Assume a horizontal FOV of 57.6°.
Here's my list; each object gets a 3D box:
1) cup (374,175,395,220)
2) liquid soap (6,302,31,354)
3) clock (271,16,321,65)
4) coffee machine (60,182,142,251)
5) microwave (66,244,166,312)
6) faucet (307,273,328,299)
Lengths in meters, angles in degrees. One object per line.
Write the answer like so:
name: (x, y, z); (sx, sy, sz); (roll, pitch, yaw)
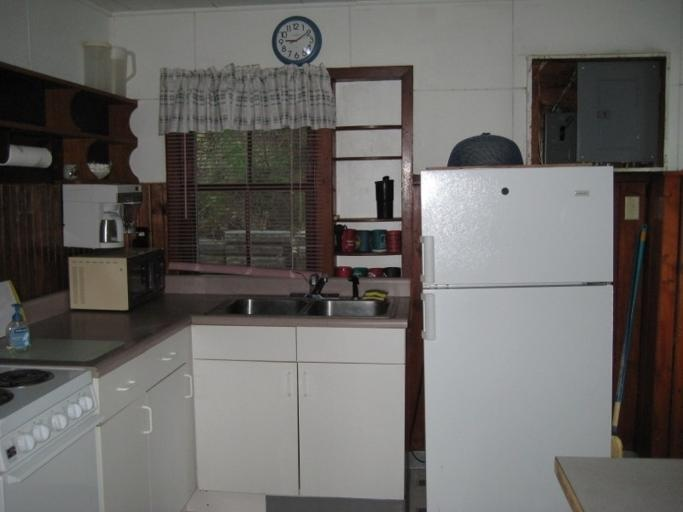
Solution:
cup: (0.288, -0.387, 4.130); (0.123, 0.278, 0.121); (2, 9, 0)
liquid soap: (-1.631, 0.351, 3.136); (0.107, 0.198, 0.228); (-3, 12, -29)
clock: (-0.286, -1.430, 4.142); (0.303, 0.352, 0.054); (-1, -3, 3)
coffee machine: (-1.513, -0.259, 3.969); (0.342, 0.490, 0.495); (0, 2, 1)
microwave: (-1.405, 0.021, 3.841); (0.323, 0.303, 0.550); (2, 7, 4)
faucet: (-0.142, 0.197, 4.073); (0.125, 0.187, 0.150); (-1, -1, 8)
